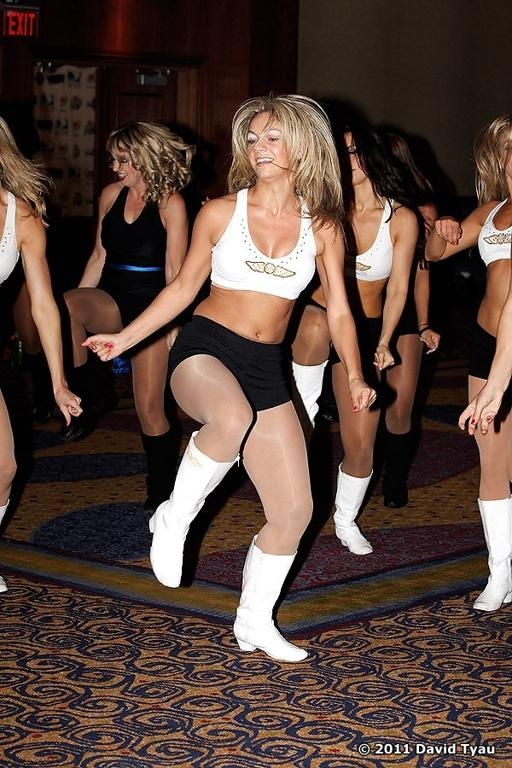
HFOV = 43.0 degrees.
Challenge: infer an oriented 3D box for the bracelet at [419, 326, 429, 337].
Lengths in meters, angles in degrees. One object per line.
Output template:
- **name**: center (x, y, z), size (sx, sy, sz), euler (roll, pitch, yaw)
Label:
- **bracelet**: center (0.906, -0.288, 3.540), size (0.072, 0.027, 0.022), euler (-46, 35, -19)

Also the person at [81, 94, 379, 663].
- **person**: center (-0.068, -0.075, 1.945), size (0.895, 1.536, 0.490), euler (2, -10, 4)

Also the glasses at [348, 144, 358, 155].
- **glasses**: center (0.426, -1.031, 2.855), size (0.052, 0.042, 0.013), euler (1, -2, 11)
